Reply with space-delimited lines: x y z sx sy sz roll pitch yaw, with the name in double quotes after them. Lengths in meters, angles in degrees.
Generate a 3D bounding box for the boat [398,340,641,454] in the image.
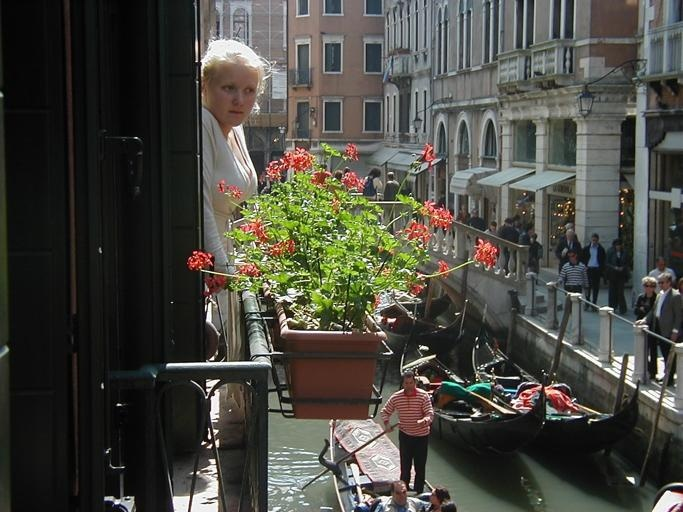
2.965 2.980 15.466 1.415 1.789 5.383 -5 11 -18 "boat"

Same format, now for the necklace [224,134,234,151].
-0.635 -0.650 4.855 0.054 0.086 0.024 -17 3 -41 "necklace"

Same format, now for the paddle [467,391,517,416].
2.616 2.540 14.841 0.226 0.129 1.031 -18 23 -25 "paddle"

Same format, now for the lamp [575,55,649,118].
6.103 -3.815 19.443 1.412 1.241 1.359 -1 7 17 "lamp"

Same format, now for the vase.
-0.047 0.488 3.683 0.321 0.273 0.767 1 0 -5 "vase"

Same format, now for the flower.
-0.037 -0.058 4.025 1.276 1.041 0.873 4 7 -8 "flower"
